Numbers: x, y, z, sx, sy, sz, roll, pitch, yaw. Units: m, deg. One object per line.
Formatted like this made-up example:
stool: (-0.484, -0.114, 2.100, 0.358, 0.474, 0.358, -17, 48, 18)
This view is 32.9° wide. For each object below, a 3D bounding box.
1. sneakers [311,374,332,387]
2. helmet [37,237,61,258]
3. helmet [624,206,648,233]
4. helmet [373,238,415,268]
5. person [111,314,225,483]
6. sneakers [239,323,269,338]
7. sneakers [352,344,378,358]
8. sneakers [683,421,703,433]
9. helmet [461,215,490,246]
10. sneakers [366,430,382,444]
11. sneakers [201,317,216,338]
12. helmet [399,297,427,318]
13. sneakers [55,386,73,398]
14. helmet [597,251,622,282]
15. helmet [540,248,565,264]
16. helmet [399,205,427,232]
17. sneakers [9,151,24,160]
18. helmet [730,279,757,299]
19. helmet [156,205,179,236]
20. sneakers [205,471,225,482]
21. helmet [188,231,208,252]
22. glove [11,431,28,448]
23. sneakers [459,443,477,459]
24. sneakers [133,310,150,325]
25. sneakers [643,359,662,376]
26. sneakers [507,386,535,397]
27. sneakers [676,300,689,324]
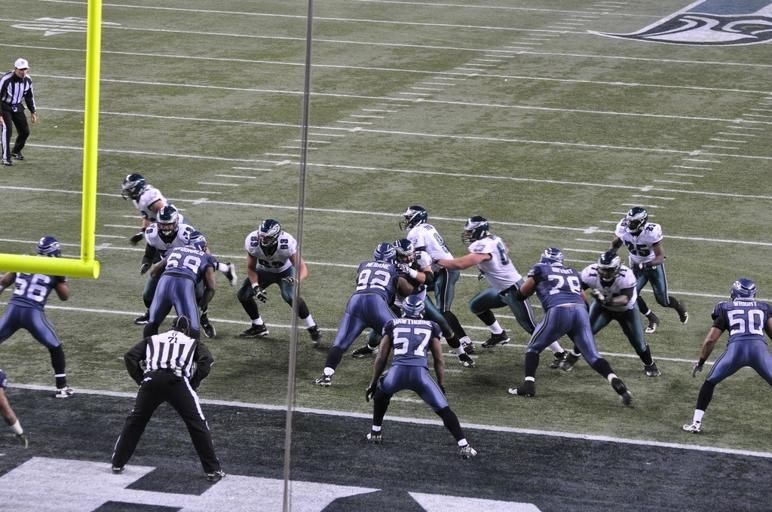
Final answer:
sneakers: (-0.882, 1.674, 17.654, 0.292, 0.105, 0.127, 5, 8, 9)
helmet: (-4.537, -0.122, 17.638, 0.329, 0.268, 0.320, 9, 23, 5)
helmet: (3.734, -0.534, 19.422, 0.280, 0.347, 0.164, 3, 13, 0)
helmet: (0.140, -0.057, 18.176, 0.349, 0.428, 0.362, -35, 43, -31)
person: (-2.625, 1.823, 16.001, 1.353, 1.722, 0.766, 2, 13, -4)
sneakers: (-1.878, 1.076, 18.853, 0.453, 0.172, 0.155, 1, 7, -3)
sneakers: (-0.315, 1.355, 18.505, 0.407, 0.134, 0.139, 1, 15, -7)
sneakers: (3.996, 2.201, 16.954, 0.270, 0.164, 0.185, 2, 11, -4)
helmet: (1.312, -0.404, 19.011, 0.513, 0.364, 0.354, 0, 11, 3)
sneakers: (-0.145, 2.281, 16.609, 0.198, 0.153, 0.172, 3, 11, 0)
sneakers: (-2.536, 1.002, 18.691, 0.139, 0.343, 0.152, -18, 28, 14)
helmet: (0.364, 0.621, 16.779, 0.276, 0.233, 0.293, 4, 29, 2)
sneakers: (-4.200, 1.789, 17.155, 0.298, 0.106, 0.097, -4, 30, -6)
helmet: (3.059, 0.096, 18.043, 0.339, 0.361, 0.398, -2, 43, 31)
helmet: (2.321, 0.011, 18.189, 0.275, 0.214, 0.299, 7, 13, -37)
helmet: (0.343, -0.565, 19.328, 0.573, 0.359, 0.393, 0, 6, 20)
sneakers: (-6.871, -1.870, 24.389, 0.284, 0.095, 0.099, 8, 15, 29)
helmet: (4.755, 0.441, 17.262, 0.304, 0.270, 0.340, 4, 11, -3)
helmet: (-3.100, -0.517, 18.664, 0.320, 0.431, 0.281, 1, 12, -9)
sneakers: (-2.061, 2.683, 15.869, 0.264, 0.089, 0.099, 1, 1, -4)
helmet: (-2.584, -0.210, 18.556, 0.278, 0.266, 0.315, 3, 1, -32)
glove: (-4.550, 2.291, 16.255, 0.087, 0.178, 0.330, -10, 39, -38)
sneakers: (1.027, 2.445, 16.308, 0.156, 0.092, 0.301, -9, -6, 5)
sneakers: (-3.579, 0.910, 19.002, 0.295, 0.129, 0.117, 3, 8, -3)
sneakers: (3.687, 1.577, 18.081, 0.157, 0.146, 0.281, -3, 0, 8)
sneakers: (1.848, 1.828, 17.671, 0.392, 0.135, 0.127, 4, 10, 15)
sneakers: (4.421, 0.825, 19.389, 0.145, 0.326, 0.173, -10, 8, 42)
